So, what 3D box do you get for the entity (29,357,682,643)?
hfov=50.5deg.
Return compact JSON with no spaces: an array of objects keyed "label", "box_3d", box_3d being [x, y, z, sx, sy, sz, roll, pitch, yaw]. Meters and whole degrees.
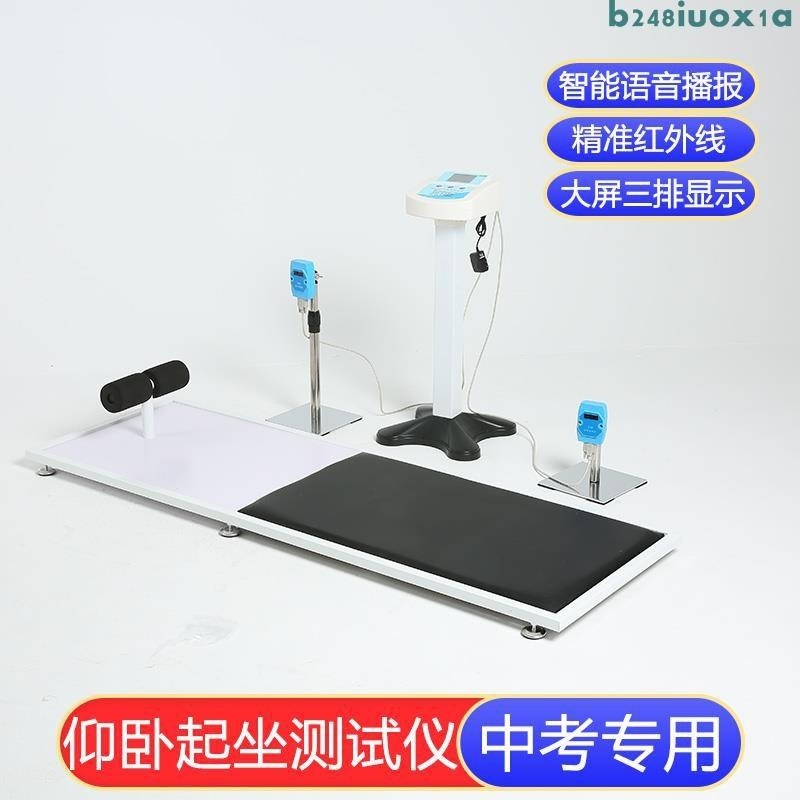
[{"label":"entity","box_3d":[-0.372,0.370,3.526,2.755,0.533,1.038,14,26,31]}]
